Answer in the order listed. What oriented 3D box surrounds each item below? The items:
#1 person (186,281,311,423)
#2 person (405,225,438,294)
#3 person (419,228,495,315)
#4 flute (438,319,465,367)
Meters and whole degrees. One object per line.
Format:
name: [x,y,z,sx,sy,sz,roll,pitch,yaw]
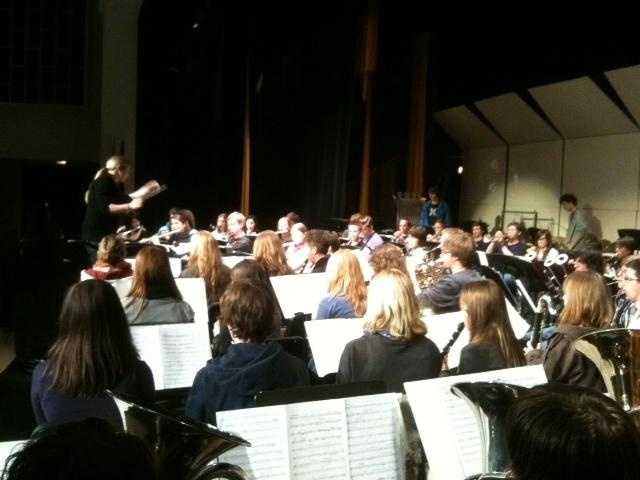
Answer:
person: [-0.376,0.779,2.837,0.634,1.137,0.412,2,9,10]
person: [1.088,0.202,6.087,0.406,0.968,0.415,-1,9,-5]
person: [1.189,0.283,4.932,0.467,0.854,0.525,-2,5,-10]
flute: [0.892,0.709,3.807,0.075,0.449,0.078,34,-24,-8]
